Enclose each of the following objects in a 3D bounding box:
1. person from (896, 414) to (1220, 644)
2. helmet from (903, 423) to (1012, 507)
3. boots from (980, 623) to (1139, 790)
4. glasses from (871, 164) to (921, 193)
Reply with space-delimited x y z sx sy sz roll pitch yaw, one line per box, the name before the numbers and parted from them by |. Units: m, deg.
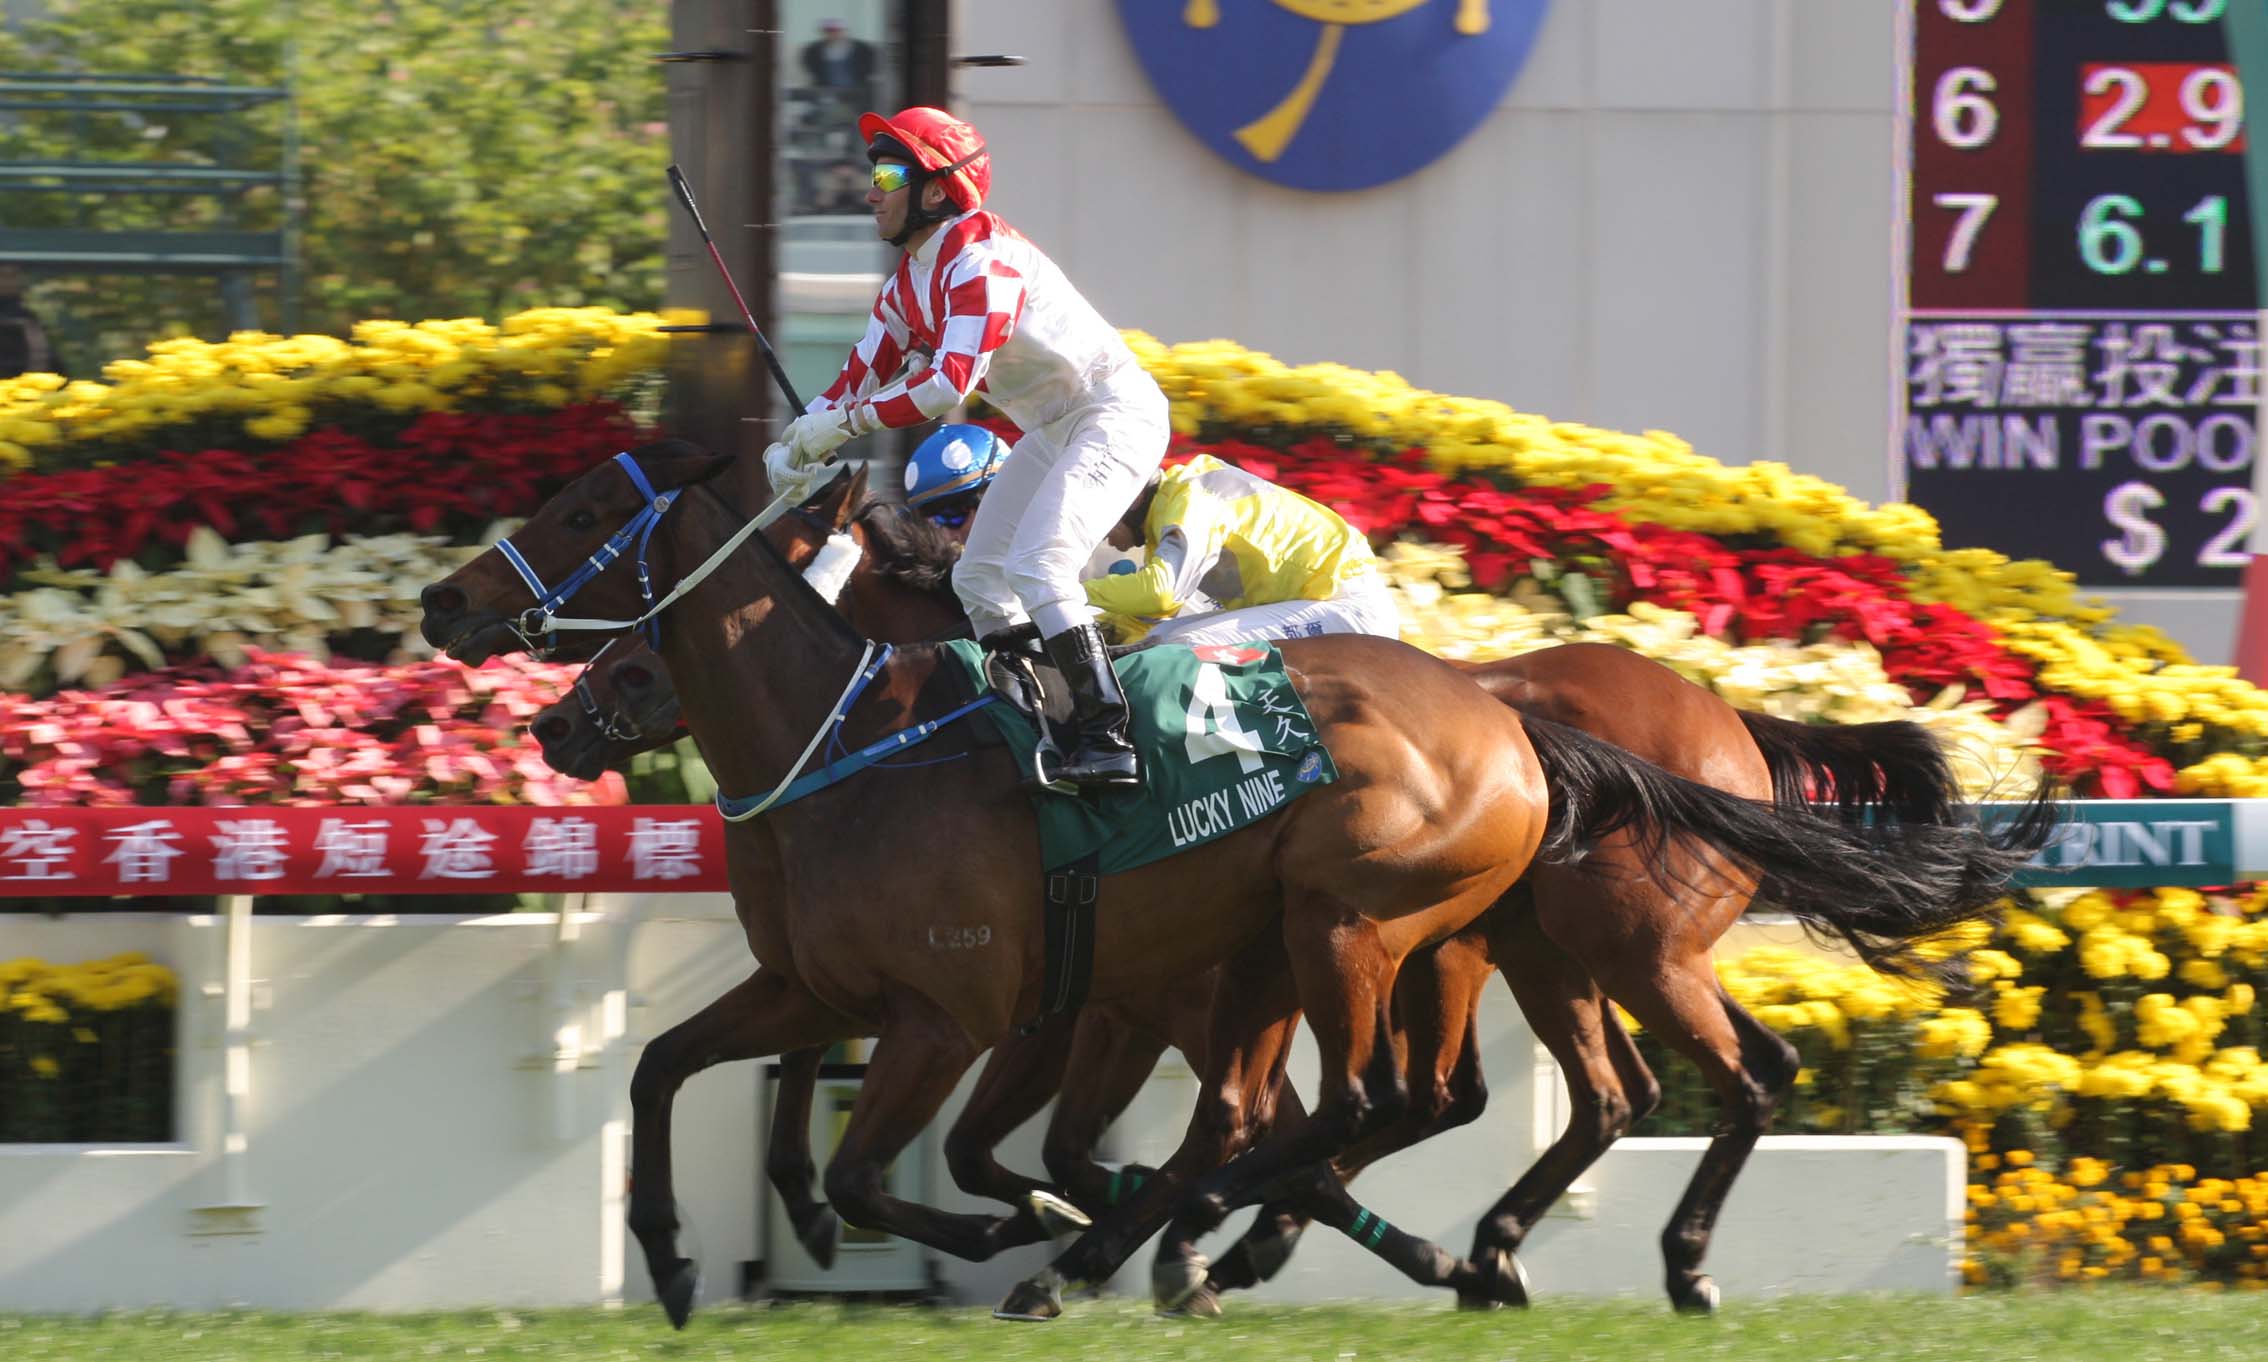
person | -0.254 -0.535 14.242 1.003 0.302 0.790 25 15 13
helmet | -0.579 -0.695 14.171 0.363 0.234 0.241 -14 -17 -29
boots | -0.239 0.074 13.522 0.373 0.490 0.436 -1 7 -24
glasses | -0.747 -1.561 13.713 0.122 0.049 0.104 0 -6 27
